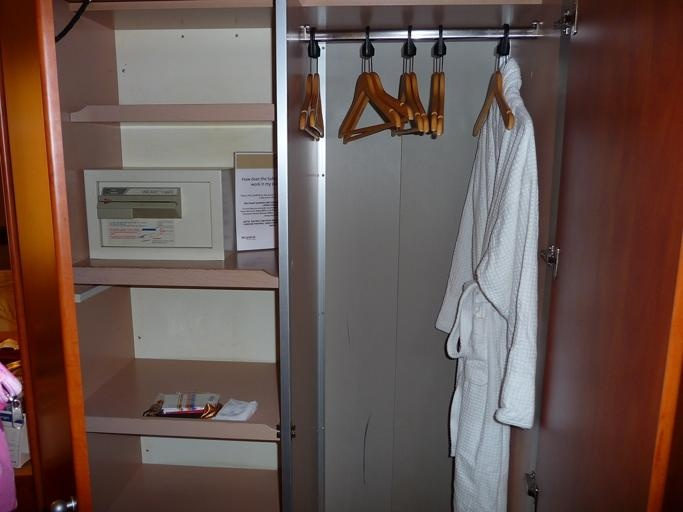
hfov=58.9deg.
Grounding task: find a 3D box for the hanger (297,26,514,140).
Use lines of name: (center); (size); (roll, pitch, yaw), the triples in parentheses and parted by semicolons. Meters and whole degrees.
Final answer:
hanger: (0.168, -0.528, 1.949); (0.739, 0.505, 0.310); (1, 15, -7)
